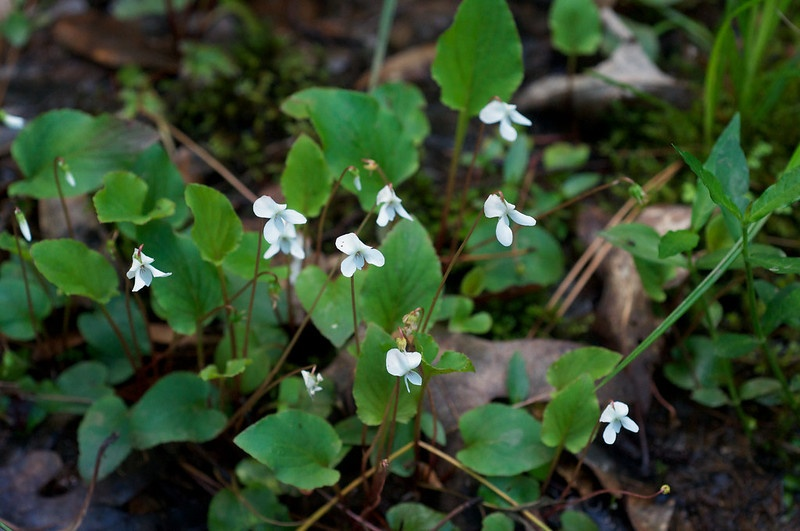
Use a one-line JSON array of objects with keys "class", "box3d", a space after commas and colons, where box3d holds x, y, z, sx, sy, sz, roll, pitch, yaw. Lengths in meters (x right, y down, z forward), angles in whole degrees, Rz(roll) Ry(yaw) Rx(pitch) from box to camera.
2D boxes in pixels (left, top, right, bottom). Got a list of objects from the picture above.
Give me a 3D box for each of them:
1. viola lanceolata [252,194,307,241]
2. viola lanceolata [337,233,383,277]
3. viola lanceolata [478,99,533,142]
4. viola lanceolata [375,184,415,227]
[{"class": "viola lanceolata", "box3d": [-0.525, -0.235, 2.882, 0.267, 0.217, 0.100, 16, 84, 37]}, {"class": "viola lanceolata", "box3d": [-0.162, -0.055, 2.816, 0.166, 0.090, 0.180, 20, 29, 13]}, {"class": "viola lanceolata", "box3d": [0.467, -0.644, 2.946, 0.233, 0.093, 0.233, -19, 23, -28]}, {"class": "viola lanceolata", "box3d": [-0.030, -0.286, 3.327, 0.187, 0.207, 0.166, -35, 72, -14]}]
